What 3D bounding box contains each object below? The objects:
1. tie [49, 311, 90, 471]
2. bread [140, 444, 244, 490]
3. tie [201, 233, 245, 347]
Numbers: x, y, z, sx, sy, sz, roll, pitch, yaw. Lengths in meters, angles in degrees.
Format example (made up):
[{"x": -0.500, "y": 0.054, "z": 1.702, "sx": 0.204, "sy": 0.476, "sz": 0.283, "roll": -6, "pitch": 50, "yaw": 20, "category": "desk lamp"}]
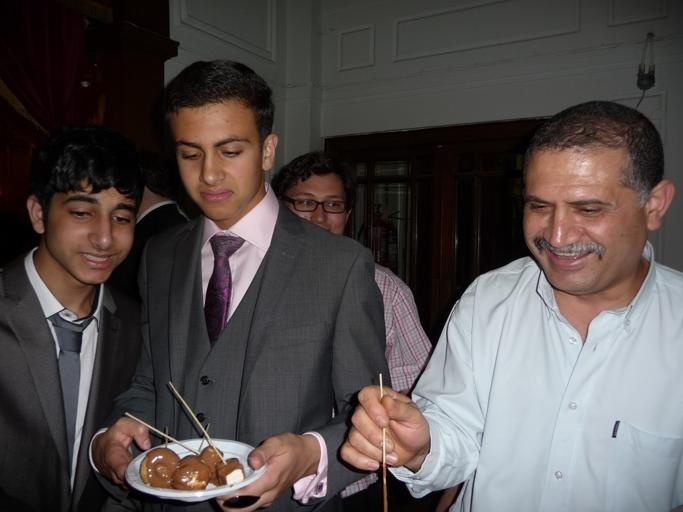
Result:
[{"x": -1.112, "y": 0.562, "z": 2.334, "sx": 0.053, "sy": 0.638, "sz": 0.188, "roll": -2, "pitch": -5, "yaw": 22, "category": "tie"}, {"x": -0.498, "y": 0.717, "z": 1.914, "sx": 0.256, "sy": 0.103, "sz": 0.175, "roll": 2, "pitch": -9, "yaw": 1, "category": "bread"}, {"x": -0.478, "y": 0.086, "z": 2.262, "sx": 0.187, "sy": 0.072, "sz": 0.666, "roll": 16, "pitch": 31, "yaw": -14, "category": "tie"}]
